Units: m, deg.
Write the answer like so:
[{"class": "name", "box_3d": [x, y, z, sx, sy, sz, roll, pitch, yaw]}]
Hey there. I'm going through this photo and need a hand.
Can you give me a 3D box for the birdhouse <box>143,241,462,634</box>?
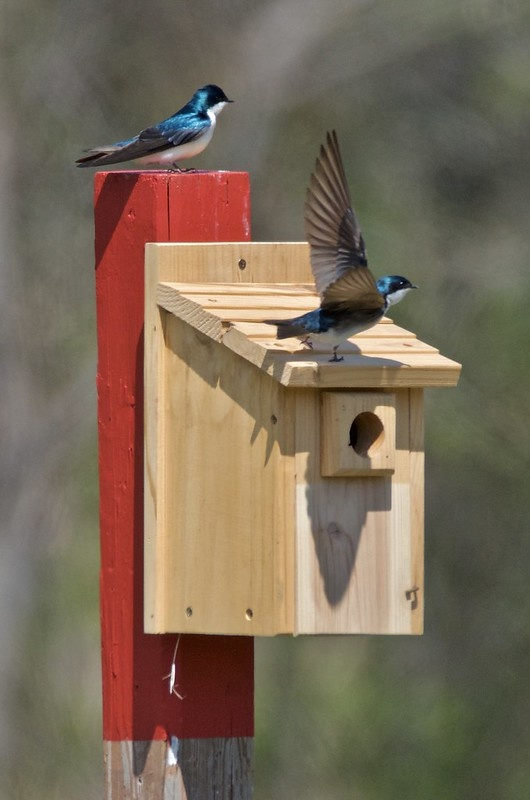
[{"class": "birdhouse", "box_3d": [0.039, 0.119, 5.473, 0.689, 0.612, 1.227, 7, 98, 41]}]
